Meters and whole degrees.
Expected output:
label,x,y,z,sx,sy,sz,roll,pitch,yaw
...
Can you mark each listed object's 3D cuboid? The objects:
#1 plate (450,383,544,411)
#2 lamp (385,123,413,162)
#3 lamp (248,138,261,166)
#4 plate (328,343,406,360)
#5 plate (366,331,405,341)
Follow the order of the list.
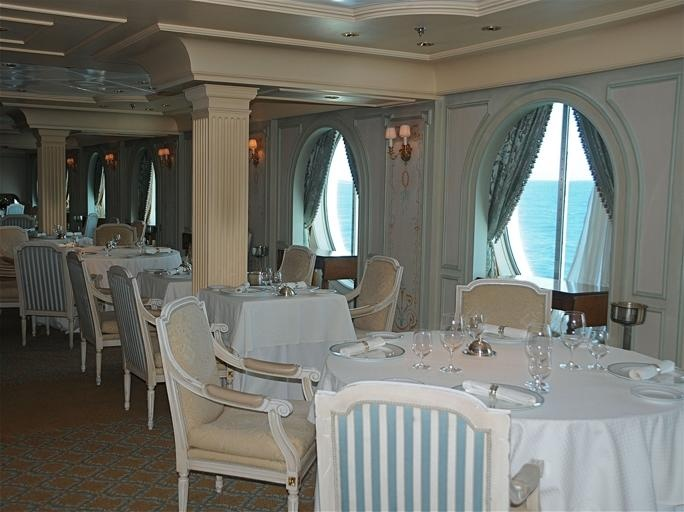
label,x,y,z,sx,sy,sz,roll,pitch,yaw
plate,0.680,0.584,2.188,0.178,0.025,0.175,-4,4,-44
lamp,0.703,-1.435,6.703,0.181,0.490,0.434,-1,4,-32
lamp,-1.598,-1.898,9.473,0.141,0.506,0.439,-1,3,-29
plate,0.138,0.506,2.829,0.403,0.042,0.322,1,2,6
plate,0.265,0.476,3.147,0.203,0.024,0.181,1,2,5
